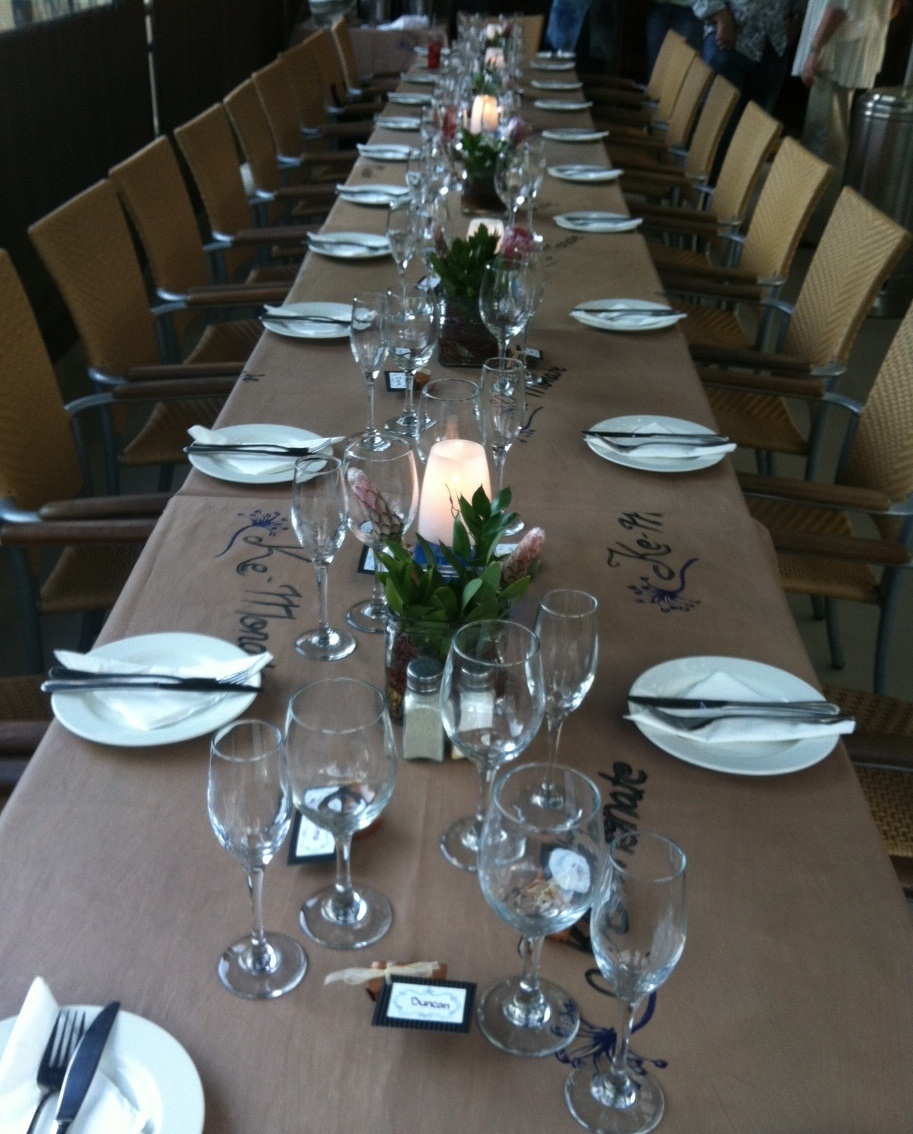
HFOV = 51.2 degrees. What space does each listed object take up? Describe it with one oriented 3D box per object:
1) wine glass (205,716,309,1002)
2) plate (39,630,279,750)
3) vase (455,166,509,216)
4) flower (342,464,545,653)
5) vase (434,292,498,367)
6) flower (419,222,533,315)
[{"bbox_3d":[-0.152,0.211,0.709,0.067,0.204,0.176,-8,40,-12],"label":"wine glass"},{"bbox_3d":[-0.302,0.127,0.968,0.131,0.023,0.138,3,32,-6],"label":"plate"},{"bbox_3d":[0.066,-1.086,2.785,0.116,0.113,0.131,8,32,15],"label":"vase"},{"bbox_3d":[-0.001,-0.009,0.971,0.156,0.174,0.174,0,5,18],"label":"flower"},{"bbox_3d":[0.018,-0.437,1.840,0.098,0.198,0.110,-3,39,-2],"label":"vase"},{"bbox_3d":[0.022,-0.515,1.677,0.131,0.115,0.156,-3,30,15],"label":"flower"}]
